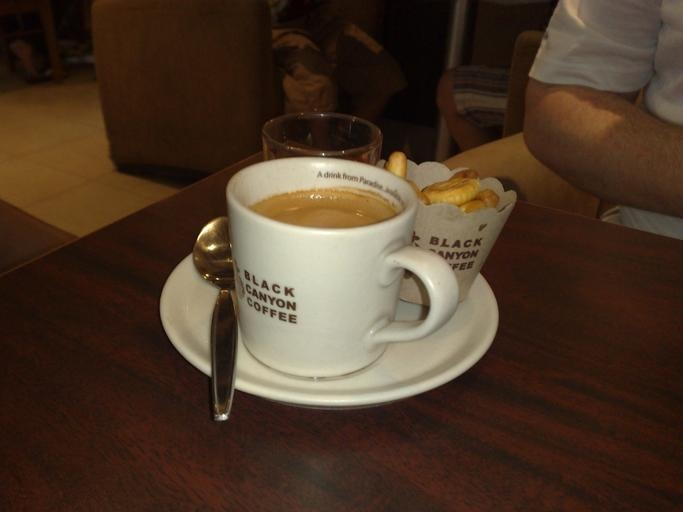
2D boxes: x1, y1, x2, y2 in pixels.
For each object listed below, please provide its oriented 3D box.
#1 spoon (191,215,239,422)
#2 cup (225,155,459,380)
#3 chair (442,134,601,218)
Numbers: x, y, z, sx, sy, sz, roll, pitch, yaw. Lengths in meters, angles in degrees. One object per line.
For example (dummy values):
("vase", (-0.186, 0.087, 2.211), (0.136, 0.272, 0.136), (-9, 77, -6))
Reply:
("spoon", (-0.114, 0.044, 0.485), (0.049, 0.024, 0.214), (7, 37, -14))
("cup", (-0.020, 0.005, 0.489), (0.206, 0.146, 0.150), (29, 41, 19))
("chair", (0.342, -0.145, 0.940), (0.108, 0.154, 0.174), (-37, 53, -28))
